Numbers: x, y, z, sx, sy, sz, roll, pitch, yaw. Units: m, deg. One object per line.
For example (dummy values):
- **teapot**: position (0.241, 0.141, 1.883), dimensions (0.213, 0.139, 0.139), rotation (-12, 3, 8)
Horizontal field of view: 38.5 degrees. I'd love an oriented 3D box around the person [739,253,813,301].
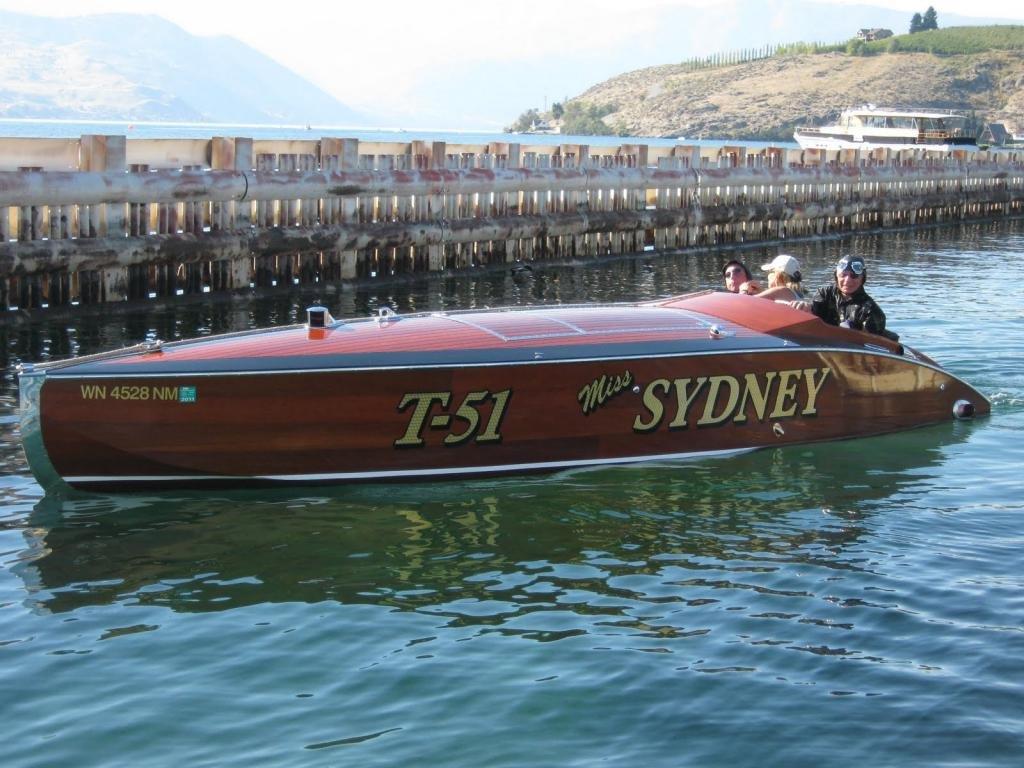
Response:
- **person**: position (2.367, -0.920, 13.002), dimensions (0.952, 0.268, 0.418), rotation (3, 5, 3)
